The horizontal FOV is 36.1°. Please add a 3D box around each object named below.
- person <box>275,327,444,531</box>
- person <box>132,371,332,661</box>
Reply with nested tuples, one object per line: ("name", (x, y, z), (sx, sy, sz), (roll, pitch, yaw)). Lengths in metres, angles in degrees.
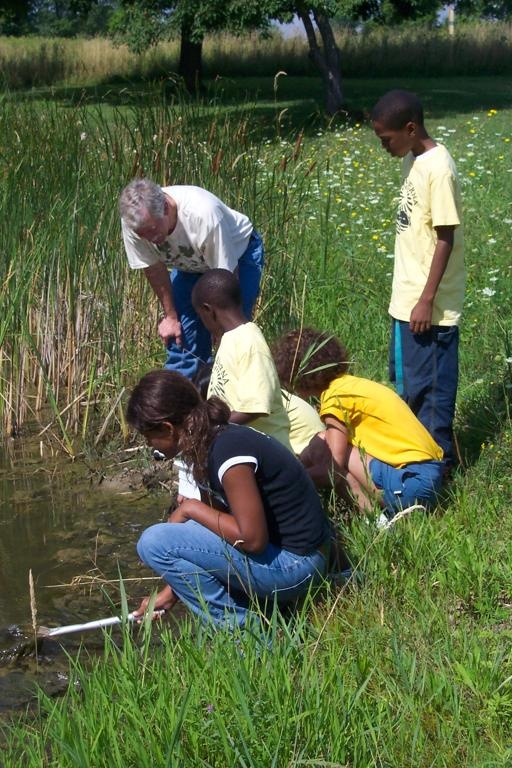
("person", (0.394, 0.209, 3.081), (0.586, 0.852, 0.401), (-7, -1, 22))
("person", (-0.102, 0.321, 2.568), (0.807, 0.984, 0.615), (4, 11, 15))
